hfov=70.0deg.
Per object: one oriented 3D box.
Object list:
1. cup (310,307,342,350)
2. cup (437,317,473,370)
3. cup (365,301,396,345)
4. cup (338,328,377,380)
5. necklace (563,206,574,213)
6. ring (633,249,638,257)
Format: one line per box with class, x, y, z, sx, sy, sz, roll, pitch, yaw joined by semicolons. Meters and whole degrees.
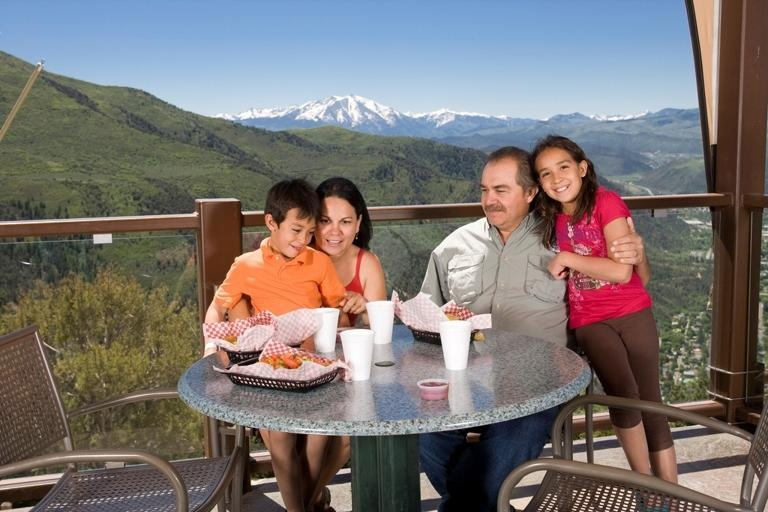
cup;-0.195;0.253;1.947;0.128;0.140;0.124;-1;2;0
cup;0.231;0.276;1.812;0.136;0.151;0.139;-1;9;0
cup;0.014;0.237;2.009;0.143;0.151;0.134;-2;8;0
cup;-0.076;0.296;1.735;0.138;0.144;0.133;-1;9;0
necklace;0.831;-0.210;2.460;0.037;0.028;0.031;5;11;43
ring;1.047;-0.011;2.274;0.028;0.026;0.006;-7;15;-27
